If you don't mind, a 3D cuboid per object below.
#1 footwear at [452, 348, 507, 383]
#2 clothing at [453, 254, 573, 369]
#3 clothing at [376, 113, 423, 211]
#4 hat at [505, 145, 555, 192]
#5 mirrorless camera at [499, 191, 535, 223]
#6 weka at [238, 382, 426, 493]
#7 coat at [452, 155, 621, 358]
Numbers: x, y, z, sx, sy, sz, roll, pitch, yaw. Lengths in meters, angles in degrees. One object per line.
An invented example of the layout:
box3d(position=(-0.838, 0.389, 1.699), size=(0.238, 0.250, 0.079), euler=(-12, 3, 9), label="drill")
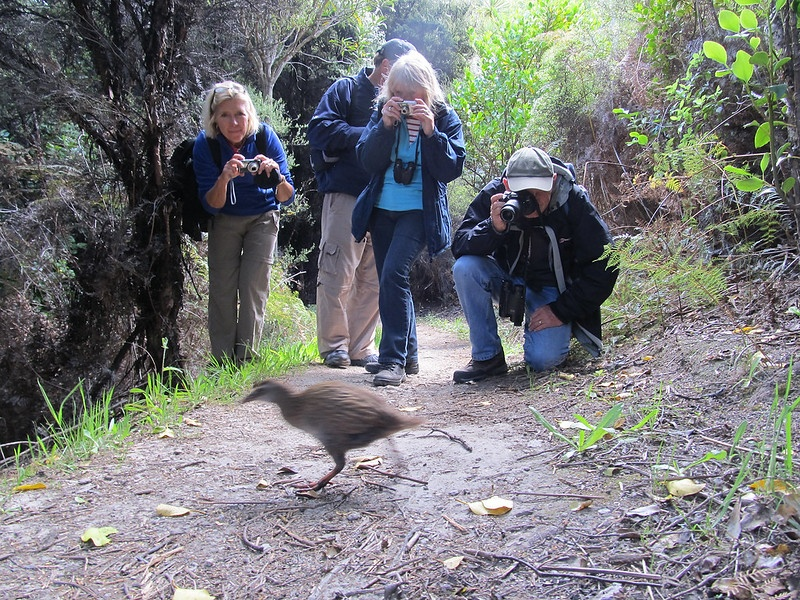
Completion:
box3d(position=(0.631, 0.549, 4.805), size=(0.517, 0.255, 0.193), euler=(-7, -2, -11), label="footwear")
box3d(position=(0.796, 0.113, 4.925), size=(0.933, 0.971, 0.327), euler=(0, -8, -8), label="clothing")
box3d(position=(-0.023, -1.072, 4.573), size=(0.362, 0.679, 0.241), euler=(5, 11, 12), label="clothing")
box3d(position=(0.986, -0.975, 4.308), size=(0.268, 0.170, 0.401), euler=(1, 45, 13), label="hat")
box3d(position=(0.897, -0.717, 4.297), size=(0.265, 0.223, 0.247), euler=(-5, 4, 13), label="mirrorless camera")
box3d(position=(-0.344, 0.679, 2.961), size=(0.914, 0.577, 0.405), euler=(-2, 8, 2), label="weka")
box3d(position=(1.154, -0.338, 4.711), size=(1.187, 1.597, 0.514), euler=(-4, 4, 21), label="coat")
